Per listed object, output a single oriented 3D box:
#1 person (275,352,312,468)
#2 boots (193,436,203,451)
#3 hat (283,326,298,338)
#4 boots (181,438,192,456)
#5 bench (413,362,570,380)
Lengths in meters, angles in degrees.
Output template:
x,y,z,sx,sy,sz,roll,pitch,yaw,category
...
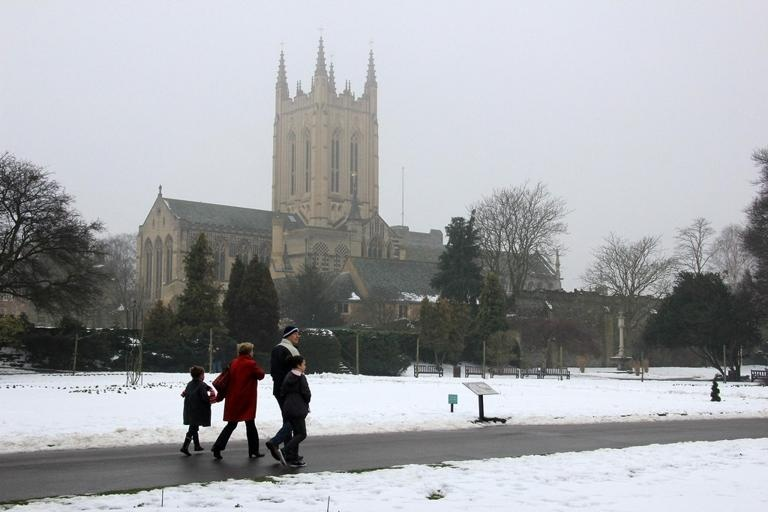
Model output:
x,y,z,sx,sy,sz,roll,pitch,yaw,category
-2.987,5.015,41.913,1.233,3.178,1.065,1,-1,-13,person
-6.261,6.304,43.089,0.335,0.468,0.525,2,-10,-8,boots
-3.141,2.484,42.405,0.428,0.312,0.408,-18,-2,-5,hat
-6.657,6.343,42.838,0.344,0.568,0.818,2,-10,-10,boots
7.505,6.911,83.339,8.099,0.880,1.173,3,-11,-14,bench
